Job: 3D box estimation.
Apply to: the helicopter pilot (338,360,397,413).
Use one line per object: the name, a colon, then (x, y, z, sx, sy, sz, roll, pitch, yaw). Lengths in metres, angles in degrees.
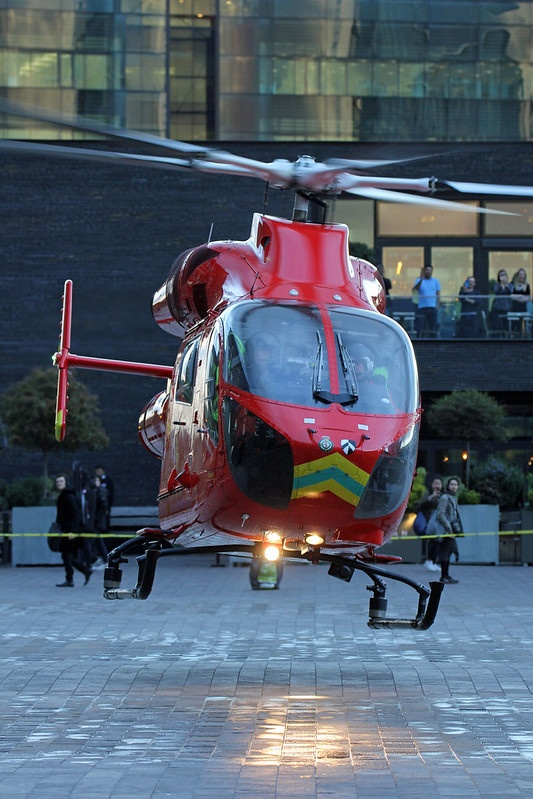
helicopter pilot: (0.709, -0.096, 7.441, 0.361, 0.402, 0.197, 6, -37, -20)

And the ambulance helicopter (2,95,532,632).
ambulance helicopter: (-0.080, -0.031, 8.174, 4.682, 2.315, 5.112, 4, -5, -12)

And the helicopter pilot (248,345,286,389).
helicopter pilot: (0.003, -0.214, 7.317, 0.247, 0.349, 0.260, 1, 4, -2)

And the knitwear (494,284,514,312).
knitwear: (4.819, -2.084, 21.608, 0.412, 0.494, 0.227, 3, 4, -2)

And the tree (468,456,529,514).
tree: (4.865, 1.722, 21.504, 1.216, 1.131, 1.295, 4, 5, 38)
